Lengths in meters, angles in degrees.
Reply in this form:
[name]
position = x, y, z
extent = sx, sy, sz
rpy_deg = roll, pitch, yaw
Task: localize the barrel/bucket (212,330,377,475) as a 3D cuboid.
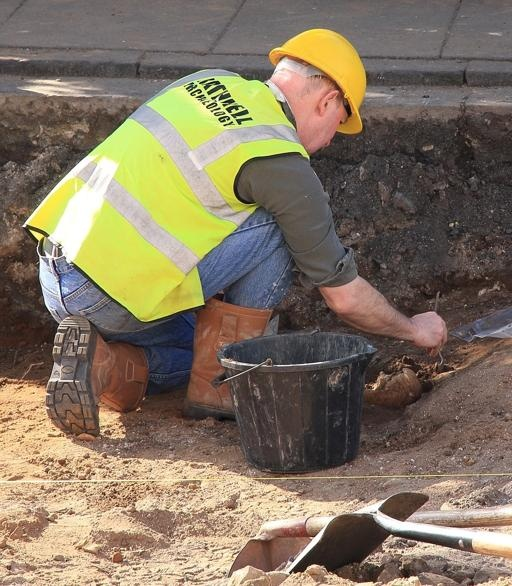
[barrel/bucket]
position = 0.129, 0.347, 2.726
extent = 0.485, 0.398, 0.430
rpy_deg = -2, 16, -3
